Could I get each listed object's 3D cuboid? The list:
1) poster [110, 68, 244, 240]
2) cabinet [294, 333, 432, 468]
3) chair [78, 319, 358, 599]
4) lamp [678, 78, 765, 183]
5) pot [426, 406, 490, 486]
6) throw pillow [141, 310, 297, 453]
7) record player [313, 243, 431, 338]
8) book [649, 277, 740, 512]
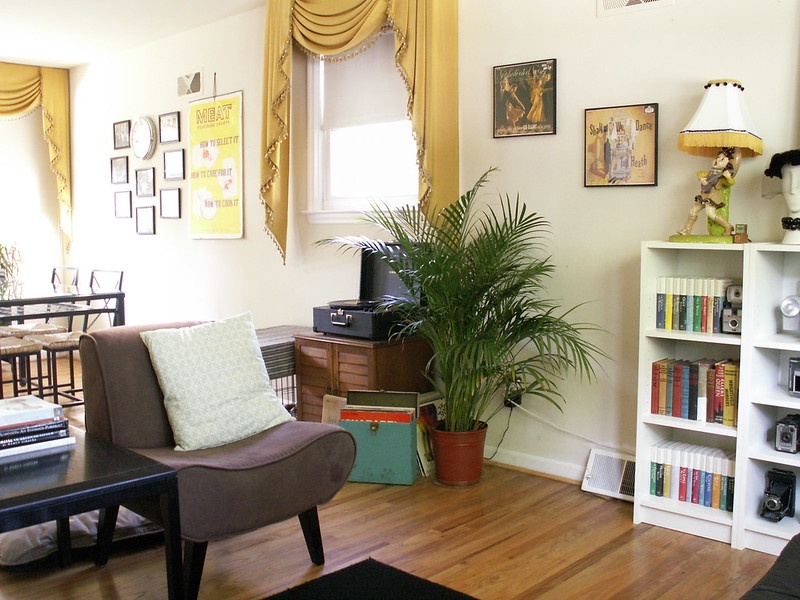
[{"bbox_3d":[-2.009,-1.346,5.559,1.608,1.229,0.039,3,3,43],"label":"poster"},{"bbox_3d":[-0.367,0.541,4.021,0.574,0.620,0.428,4,8,22],"label":"cabinet"},{"bbox_3d":[-0.832,0.627,2.837,0.931,1.116,1.078,-4,3,-42],"label":"chair"},{"bbox_3d":[1.546,-0.822,2.907,0.346,0.420,0.344,6,11,33],"label":"lamp"},{"bbox_3d":[0.339,0.890,3.586,0.358,0.353,0.369,-1,8,0],"label":"pot"},{"bbox_3d":[-0.838,0.385,2.742,0.165,0.564,0.560,-29,-10,40],"label":"throw pillow"},{"bbox_3d":[-0.164,-0.058,4.007,0.717,0.700,0.737,8,-2,-24],"label":"record player"},{"bbox_3d":[1.505,0.459,3.056,0.260,0.975,0.614,0,1,-44],"label":"book"}]
